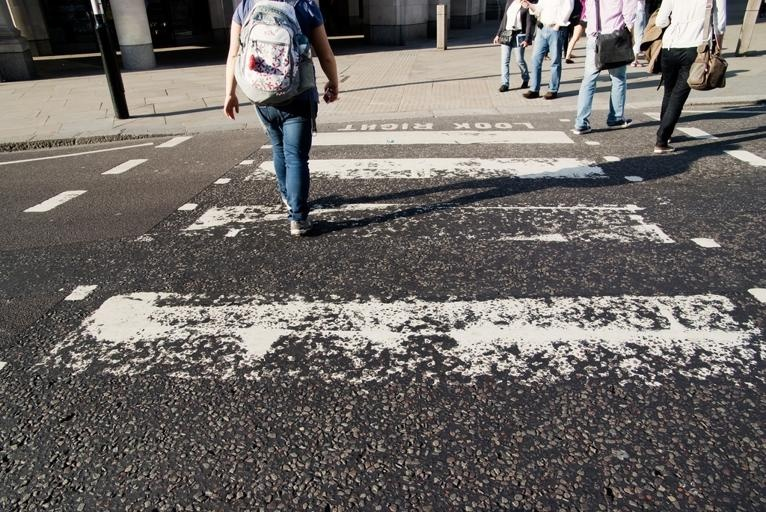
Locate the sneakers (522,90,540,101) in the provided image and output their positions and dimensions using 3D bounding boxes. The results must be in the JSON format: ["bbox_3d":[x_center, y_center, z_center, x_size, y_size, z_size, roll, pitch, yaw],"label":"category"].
[{"bbox_3d":[3.081,-3.350,11.004,0.399,0.143,0.130,3,-2,-25],"label":"sneakers"}]

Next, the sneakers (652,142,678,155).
[{"bbox_3d":[4.012,-1.540,7.603,0.368,0.150,0.148,-2,35,-6],"label":"sneakers"}]

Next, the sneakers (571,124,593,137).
[{"bbox_3d":[3.262,-2.099,8.696,0.367,0.143,0.132,-14,26,-40],"label":"sneakers"}]

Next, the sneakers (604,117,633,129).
[{"bbox_3d":[3.970,-2.224,8.903,0.434,0.169,0.163,-3,43,-3],"label":"sneakers"}]

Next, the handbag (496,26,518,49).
[{"bbox_3d":[2.670,-4.715,11.377,0.409,0.290,0.179,2,-9,14],"label":"handbag"}]

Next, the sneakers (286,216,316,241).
[{"bbox_3d":[-0.893,-0.304,5.657,0.144,0.144,0.330,5,22,14],"label":"sneakers"}]
